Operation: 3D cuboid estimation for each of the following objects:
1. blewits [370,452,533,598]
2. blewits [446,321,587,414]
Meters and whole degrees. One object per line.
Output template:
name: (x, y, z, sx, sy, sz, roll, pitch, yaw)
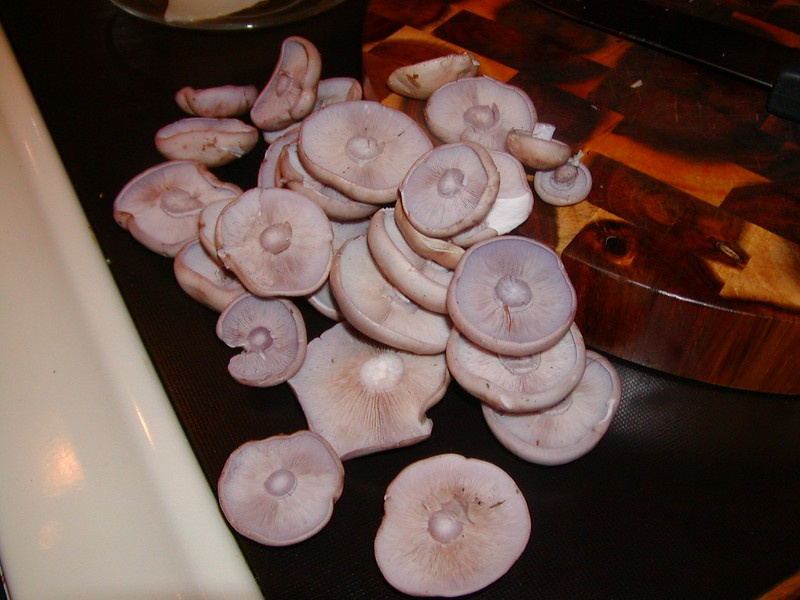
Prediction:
blewits: (0.129, 0.545, 1.821, 0.358, 0.111, 0.323, 12, 58, 2)
blewits: (0.284, 0.163, 1.846, 0.334, 0.111, 0.188, 2, 58, -5)
